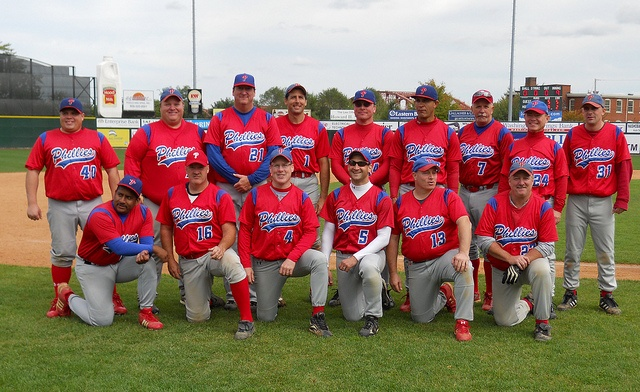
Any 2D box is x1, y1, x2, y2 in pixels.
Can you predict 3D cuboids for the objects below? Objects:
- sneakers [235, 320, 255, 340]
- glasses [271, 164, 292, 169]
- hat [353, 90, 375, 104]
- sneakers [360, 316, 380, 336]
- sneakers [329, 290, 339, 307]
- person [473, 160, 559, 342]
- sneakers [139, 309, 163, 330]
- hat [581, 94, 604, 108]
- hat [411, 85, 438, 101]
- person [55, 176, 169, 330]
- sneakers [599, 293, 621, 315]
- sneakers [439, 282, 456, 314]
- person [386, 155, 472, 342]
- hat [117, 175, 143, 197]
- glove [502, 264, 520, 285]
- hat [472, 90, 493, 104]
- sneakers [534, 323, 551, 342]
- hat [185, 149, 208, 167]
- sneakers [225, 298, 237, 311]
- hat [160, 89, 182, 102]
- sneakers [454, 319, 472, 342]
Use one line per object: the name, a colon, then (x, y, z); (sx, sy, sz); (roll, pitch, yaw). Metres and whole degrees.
sneakers: (-1.057, 1.884, 8.883); (0.313, 0.227, 0.235); (-2, 7, -18)
glasses: (-0.560, -0.426, 9.223); (0.294, 0.057, 0.092); (-1, 7, -13)
hat: (0.716, -1.620, 10.247); (0.340, 0.234, 0.460); (1, 7, 2)
sneakers: (0.712, 1.853, 9.019); (0.273, 0.257, 0.336); (1, 7, 5)
sneakers: (0.246, 1.699, 10.196); (0.125, 0.163, 0.370); (-6, -15, 21)
person: (2.857, 0.737, 9.130); (1.055, 2.397, 0.608); (3, 7, 19)
sneakers: (-2.443, 1.774, 9.107); (0.289, 0.261, 0.350); (-3, 7, -25)
hat: (4.374, -1.522, 10.026); (0.219, 0.168, 0.340); (2, -4, 45)
hat: (1.689, -1.637, 9.991); (0.395, 0.242, 0.273); (-1, 7, -14)
person: (-3.004, 0.803, 9.158); (1.533, 2.162, 0.538); (1, 7, 2)
sneakers: (4.485, 1.662, 9.683); (0.288, 0.266, 0.301); (3, 7, 17)
sneakers: (2.025, 1.592, 9.827); (0.200, 0.539, 0.236); (-15, 11, 35)
person: (1.637, 0.705, 9.215); (1.275, 2.519, 0.980); (3, 7, 16)
hat: (-2.732, -0.124, 9.070); (0.301, 0.297, 0.239); (2, 7, 14)
glove: (2.727, 1.127, 8.979); (0.119, 0.269, 0.225); (27, 5, -8)
hat: (2.595, -1.574, 9.980); (0.279, 0.176, 0.404); (2, 7, 11)
sneakers: (3.161, 1.914, 8.859); (0.285, 0.219, 0.259); (0, 7, -3)
hat: (-1.795, -0.543, 9.155); (0.289, 0.206, 0.239); (-2, 7, -19)
sneakers: (-1.385, 1.710, 9.850); (0.248, 0.274, 0.656); (0, -10, -10)
hat: (-2.291, -1.559, 9.729); (0.315, 0.207, 0.442); (-1, 7, -13)
sneakers: (2.034, 1.887, 8.895); (0.242, 0.256, 0.298); (2, 7, 10)
